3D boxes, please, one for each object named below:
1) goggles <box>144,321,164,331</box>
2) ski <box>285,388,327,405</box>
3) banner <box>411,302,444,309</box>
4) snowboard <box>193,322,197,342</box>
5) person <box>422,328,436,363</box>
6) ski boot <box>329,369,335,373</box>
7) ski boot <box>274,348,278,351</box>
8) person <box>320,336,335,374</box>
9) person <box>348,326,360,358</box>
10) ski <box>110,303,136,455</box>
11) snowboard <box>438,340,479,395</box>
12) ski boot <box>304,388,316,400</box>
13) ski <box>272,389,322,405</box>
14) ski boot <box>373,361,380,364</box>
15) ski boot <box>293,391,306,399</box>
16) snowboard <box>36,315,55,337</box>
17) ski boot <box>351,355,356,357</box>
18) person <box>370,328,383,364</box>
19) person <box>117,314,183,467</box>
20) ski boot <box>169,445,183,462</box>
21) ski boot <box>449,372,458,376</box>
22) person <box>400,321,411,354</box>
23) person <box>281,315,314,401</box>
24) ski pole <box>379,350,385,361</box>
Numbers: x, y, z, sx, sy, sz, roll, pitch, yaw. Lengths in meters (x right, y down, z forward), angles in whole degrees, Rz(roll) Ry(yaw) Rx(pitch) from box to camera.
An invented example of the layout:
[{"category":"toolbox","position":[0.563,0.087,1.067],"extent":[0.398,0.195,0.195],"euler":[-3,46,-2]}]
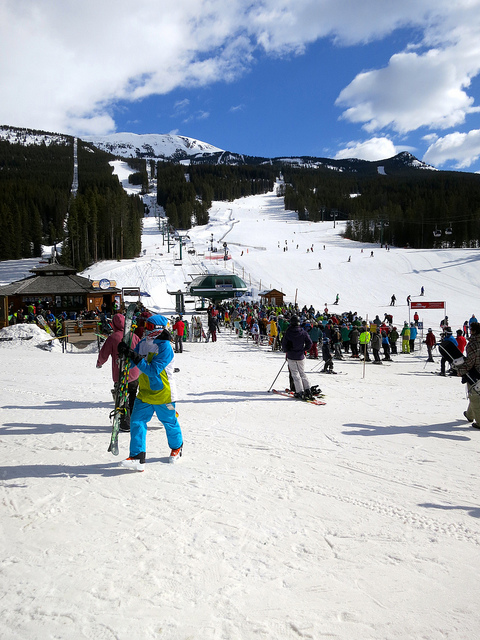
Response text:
[{"category":"goggles","position":[-0.953,0.068,5.957],"extent":[0.130,0.087,0.109],"euler":[4,4,-17]},{"category":"ski","position":[1.263,1.487,10.312],"extent":[0.050,0.137,1.056],"euler":[19,1,-27]},{"category":"banner","position":[8.197,-0.669,23.535],"extent":[1.458,0.241,0.822],"euler":[-2,5,-13]},{"category":"snowboard","position":[-1.980,0.512,23.922],"extent":[0.184,0.827,0.288],"euler":[-1,3,-10]},{"category":"person","position":[6.451,0.952,18.176],"extent":[0.300,1.284,2.057],"euler":[1,5,19]},{"category":"ski boot","position":[2.522,1.381,14.592],"extent":[0.110,0.095,0.246],"euler":[2,5,28]},{"category":"ski boot","position":[1.381,1.108,20.269],"extent":[0.118,0.065,0.234],"euler":[-1,5,-5]},{"category":"person","position":[2.391,0.966,14.642],"extent":[0.389,0.985,0.864],"euler":[0,4,9]},{"category":"person","position":[4.138,0.817,19.305],"extent":[0.338,1.165,0.725],"euler":[0,4,13]},{"category":"ski","position":[-1.463,0.783,6.776],"extent":[0.164,1.893,0.237],"euler":[2,-7,38]},{"category":"snowboard","position":[3.564,0.635,8.778],"extent":[0.330,0.195,1.324],"euler":[-37,22,20]},{"category":"ski boot","position":[1.350,1.417,10.243],"extent":[0.091,0.142,0.239],"euler":[-8,-36,13]},{"category":"ski","position":[1.127,1.495,10.362],"extent":[0.111,0.144,1.092],"euler":[-8,7,-19]},{"category":"ski boot","position":[4.569,1.409,17.905],"extent":[0.181,0.084,0.134],"euler":[2,5,30]},{"category":"ski boot","position":[1.156,1.457,10.321],"extent":[0.076,0.131,0.251],"euler":[1,-13,-20]},{"category":"snowboard","position":[-8.214,0.274,22.753],"extent":[0.204,0.923,0.213],"euler":[-12,-29,-41]},{"category":"ski boot","position":[4.126,1.304,19.392],"extent":[0.148,0.091,0.085],"euler":[3,5,41]},{"category":"person","position":[4.624,0.900,18.187],"extent":[0.310,1.102,0.810],"euler":[0,4,10]},{"category":"person","position":[-0.960,0.814,5.932],"extent":[0.687,1.728,0.373],"euler":[-2,4,-23]},{"category":"ski boot","position":[-0.733,1.566,6.268],"extent":[0.105,0.159,0.206],"euler":[3,6,43]},{"category":"ski boot","position":[6.202,1.571,15.573],"extent":[0.156,0.111,0.101],"euler":[5,-5,-4]},{"category":"person","position":[6.785,0.769,21.908],"extent":[0.352,1.274,1.039],"euler":[1,4,17]},{"category":"person","position":[1.102,0.761,10.071],"extent":[0.583,1.588,0.657],"euler":[0,4,8]},{"category":"ski pole","position":[5.257,1.333,19.831],"extent":[0.064,0.458,0.064],"euler":[-21,18,3]}]
